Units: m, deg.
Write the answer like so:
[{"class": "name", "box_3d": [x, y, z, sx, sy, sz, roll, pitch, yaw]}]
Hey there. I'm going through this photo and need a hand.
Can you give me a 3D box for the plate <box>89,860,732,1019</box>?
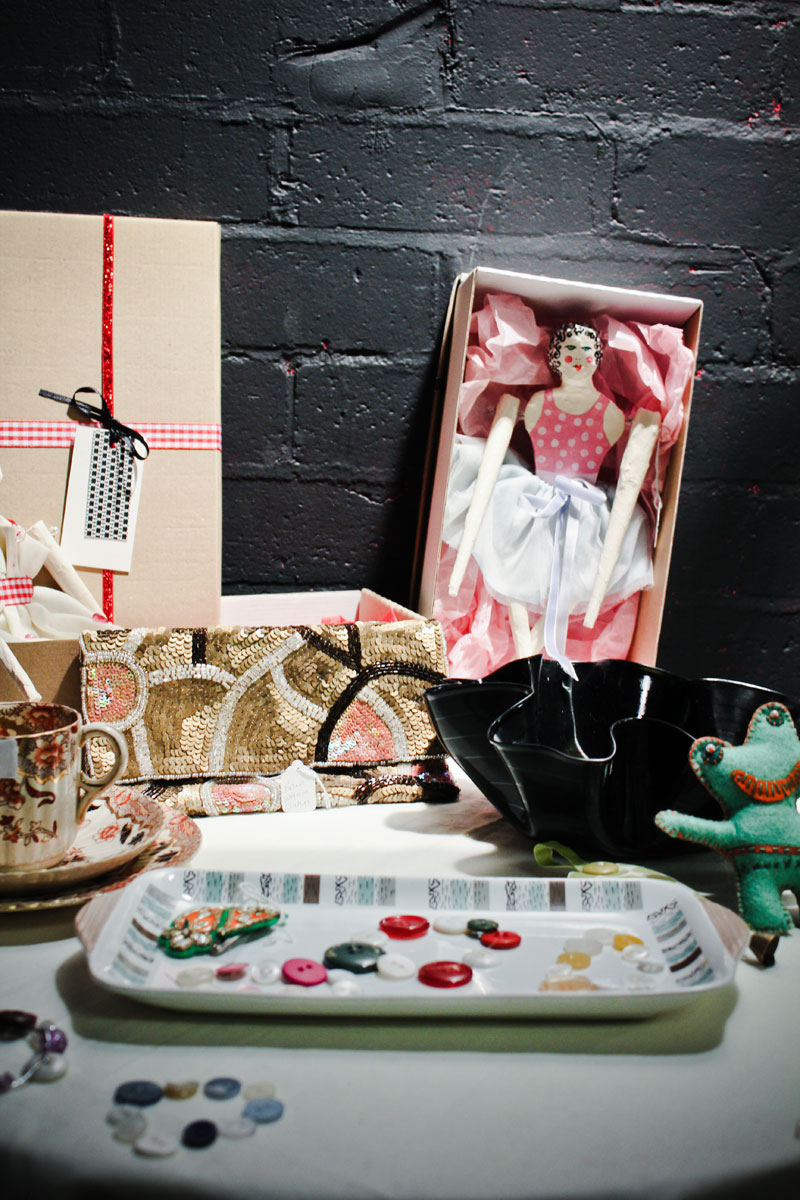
[{"class": "plate", "box_3d": [0.001, 0.173, 0.533, 0.196, 0.018, 0.107, -1, 4, -1]}]
